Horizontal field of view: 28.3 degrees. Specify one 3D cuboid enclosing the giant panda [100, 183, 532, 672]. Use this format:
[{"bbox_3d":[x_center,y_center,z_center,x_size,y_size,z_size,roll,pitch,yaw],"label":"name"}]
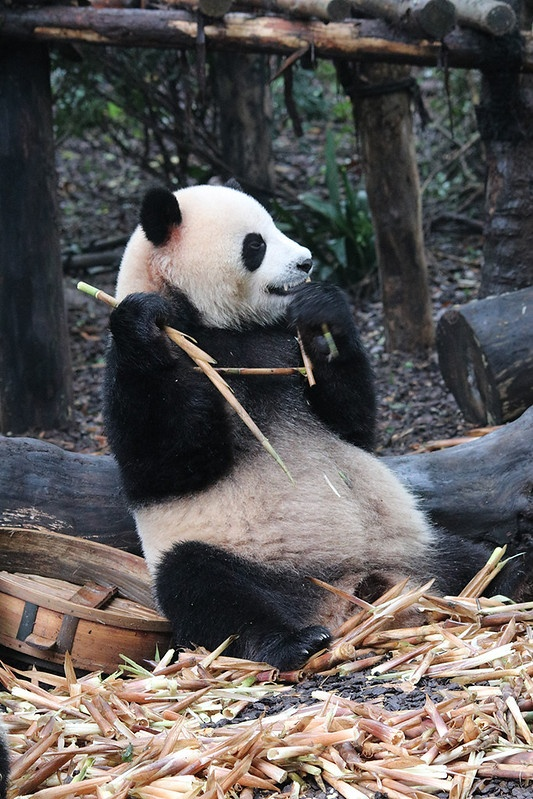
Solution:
[{"bbox_3d":[0.025,0.054,3.032,1.091,1.277,1.030,3,14,42],"label":"giant panda"}]
